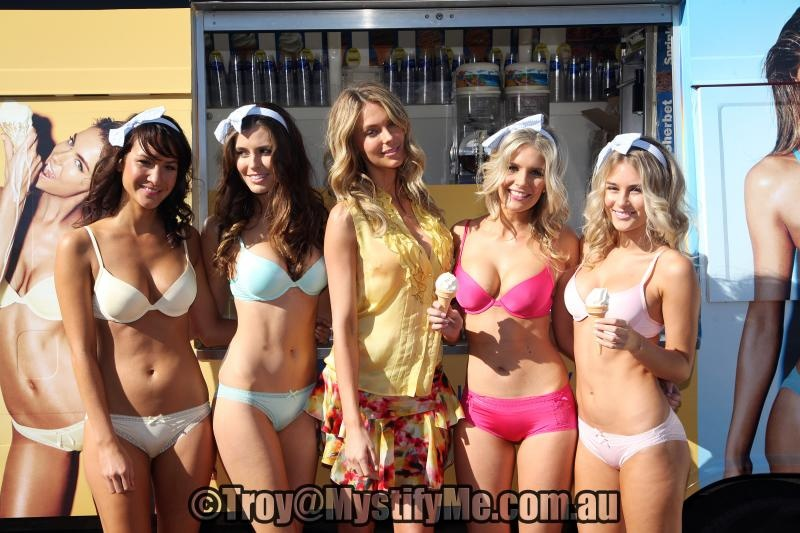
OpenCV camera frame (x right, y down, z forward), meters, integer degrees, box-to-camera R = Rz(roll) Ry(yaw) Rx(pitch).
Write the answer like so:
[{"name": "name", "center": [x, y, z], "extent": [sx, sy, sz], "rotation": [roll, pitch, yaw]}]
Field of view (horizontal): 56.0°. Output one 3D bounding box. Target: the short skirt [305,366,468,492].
[{"name": "short skirt", "center": [-0.045, 0.792, 4.224], "extent": [0.795, 0.862, 0.536], "rotation": [2, 8, -19]}]

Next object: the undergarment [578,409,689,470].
[{"name": "undergarment", "center": [1.253, 0.957, 4.208], "extent": [0.548, 0.305, 0.577], "rotation": [1, -3, -18]}]

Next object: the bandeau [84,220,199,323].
[{"name": "bandeau", "center": [-1.447, 0.084, 4.315], "extent": [0.547, 0.279, 0.723], "rotation": [-7, 19, -13]}]

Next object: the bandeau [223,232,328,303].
[{"name": "bandeau", "center": [-0.668, 0.144, 4.142], "extent": [0.545, 0.401, 0.282], "rotation": [4, -12, -27]}]

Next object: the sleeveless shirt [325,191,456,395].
[{"name": "sleeveless shirt", "center": [0.028, 0.156, 4.123], "extent": [0.567, 1.097, 0.300], "rotation": [-3, 5, -16]}]

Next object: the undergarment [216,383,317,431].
[{"name": "undergarment", "center": [-0.732, 0.811, 4.331], "extent": [0.536, 0.276, 0.533], "rotation": [0, -9, -23]}]

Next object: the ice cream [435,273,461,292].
[{"name": "ice cream", "center": [0.248, 0.076, 3.935], "extent": [0.094, 0.091, 0.097], "rotation": [-2, 15, -17]}]
